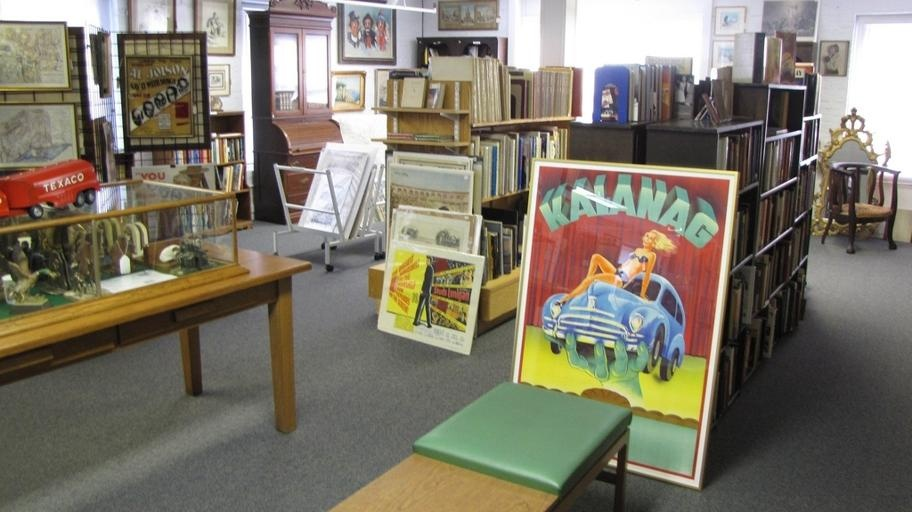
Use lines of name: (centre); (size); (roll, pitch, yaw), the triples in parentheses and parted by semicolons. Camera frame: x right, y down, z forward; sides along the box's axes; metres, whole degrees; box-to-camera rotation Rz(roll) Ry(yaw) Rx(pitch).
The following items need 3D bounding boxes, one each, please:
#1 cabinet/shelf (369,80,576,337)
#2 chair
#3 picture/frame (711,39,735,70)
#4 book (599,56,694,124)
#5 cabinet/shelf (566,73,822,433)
cabinet/shelf: (0.145, -0.444, 5.899); (0.936, 2.078, 2.499); (9, 16, 33)
chair: (6.037, -0.733, 8.892); (1.213, 1.507, 1.015); (-5, 8, -17)
picture/frame: (4.432, -3.387, 9.943); (0.306, 0.482, 0.286); (4, 19, 12)
book: (1.679, -1.479, 5.371); (0.823, 0.271, 0.607); (-10, 12, -29)
cabinet/shelf: (1.869, -0.022, 4.774); (0.856, 2.365, 2.731); (11, 22, 38)
